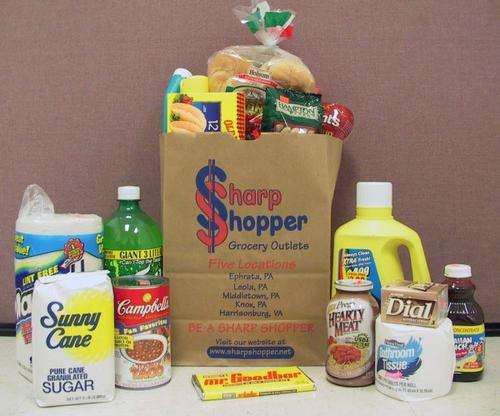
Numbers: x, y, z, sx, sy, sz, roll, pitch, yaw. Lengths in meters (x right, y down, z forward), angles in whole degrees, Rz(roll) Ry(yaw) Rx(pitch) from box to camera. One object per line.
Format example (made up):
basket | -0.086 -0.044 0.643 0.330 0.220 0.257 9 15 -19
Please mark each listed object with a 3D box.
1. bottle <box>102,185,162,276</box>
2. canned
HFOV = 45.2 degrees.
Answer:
bottle | -0.324 0.068 1.634 0.162 0.226 0.134 -6 22 -9
canned | -0.273 0.317 1.511 0.142 0.252 0.120 -4 22 -2
